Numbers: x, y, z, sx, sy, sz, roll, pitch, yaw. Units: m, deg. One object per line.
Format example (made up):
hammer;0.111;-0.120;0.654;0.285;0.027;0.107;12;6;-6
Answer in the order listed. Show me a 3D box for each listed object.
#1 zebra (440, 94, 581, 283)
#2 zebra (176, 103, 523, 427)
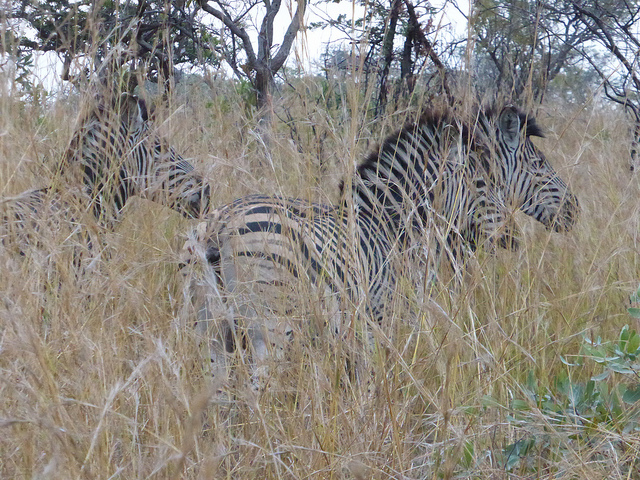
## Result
zebra;0.950;-0.231;3.487;0.341;0.820;1.066;13;44;40
zebra;0.082;0.092;3.079;1.565;1.526;1.059;0;12;-36
